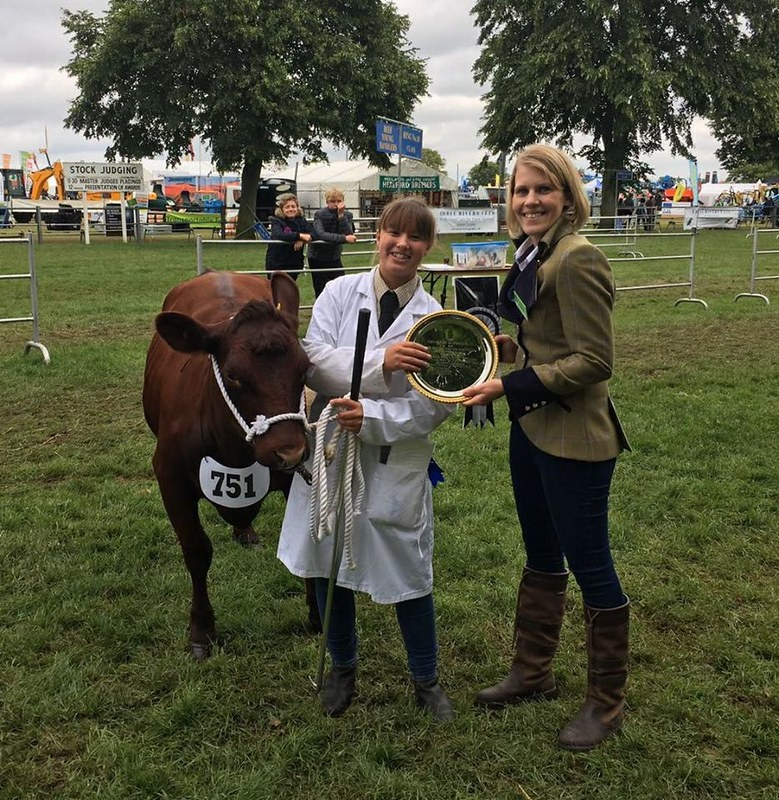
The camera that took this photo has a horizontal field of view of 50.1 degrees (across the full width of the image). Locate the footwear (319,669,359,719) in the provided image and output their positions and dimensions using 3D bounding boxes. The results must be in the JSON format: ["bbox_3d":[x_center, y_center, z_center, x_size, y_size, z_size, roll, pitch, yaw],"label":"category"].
[{"bbox_3d":[-0.195,1.120,3.206,0.080,0.149,0.233,4,10,10],"label":"footwear"}]

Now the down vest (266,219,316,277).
[{"bbox_3d":[-1.191,-1.818,10.188,0.599,0.882,0.589,-4,14,-21],"label":"down vest"}]

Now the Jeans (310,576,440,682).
[{"bbox_3d":[-0.058,0.913,3.270,0.437,0.431,0.165,5,16,25],"label":"Jeans"}]

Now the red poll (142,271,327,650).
[{"bbox_3d":[-0.788,0.117,3.818,0.621,1.419,1.889,-7,20,-23],"label":"red poll"}]

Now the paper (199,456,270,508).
[{"bbox_3d":[-0.631,0.326,3.375,0.231,0.179,0.035,6,11,-18],"label":"paper"}]

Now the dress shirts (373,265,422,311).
[{"bbox_3d":[0.022,-0.404,3.051,0.123,0.154,0.107,1,1,-3],"label":"dress shirts"}]

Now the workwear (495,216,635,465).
[{"bbox_3d":[0.622,-0.207,2.907,0.420,0.835,0.350,0,8,15],"label":"workwear"}]

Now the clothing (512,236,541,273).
[{"bbox_3d":[0.504,-0.549,3.025,0.083,0.136,0.064,14,-22,1],"label":"clothing"}]

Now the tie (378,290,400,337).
[{"bbox_3d":[0.000,-0.315,3.061,0.090,0.152,0.036,8,-13,6],"label":"tie"}]

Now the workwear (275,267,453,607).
[{"bbox_3d":[-0.074,0.090,3.110,0.571,1.166,0.494,9,10,10],"label":"workwear"}]
